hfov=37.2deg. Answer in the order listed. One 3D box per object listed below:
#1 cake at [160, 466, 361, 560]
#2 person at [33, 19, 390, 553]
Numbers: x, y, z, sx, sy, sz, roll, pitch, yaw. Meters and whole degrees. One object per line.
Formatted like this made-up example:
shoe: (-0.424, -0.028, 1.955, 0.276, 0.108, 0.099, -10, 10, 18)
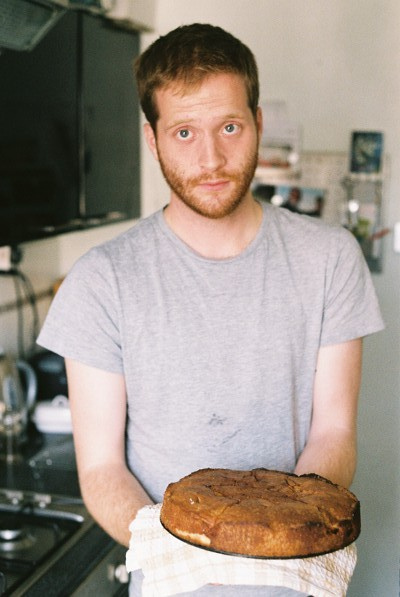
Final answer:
cake: (0.079, 0.274, 0.781, 0.255, 0.065, 0.203, 0, 9, 12)
person: (0.030, -0.055, 1.065, 0.553, 0.857, 0.428, -9, 12, -36)
